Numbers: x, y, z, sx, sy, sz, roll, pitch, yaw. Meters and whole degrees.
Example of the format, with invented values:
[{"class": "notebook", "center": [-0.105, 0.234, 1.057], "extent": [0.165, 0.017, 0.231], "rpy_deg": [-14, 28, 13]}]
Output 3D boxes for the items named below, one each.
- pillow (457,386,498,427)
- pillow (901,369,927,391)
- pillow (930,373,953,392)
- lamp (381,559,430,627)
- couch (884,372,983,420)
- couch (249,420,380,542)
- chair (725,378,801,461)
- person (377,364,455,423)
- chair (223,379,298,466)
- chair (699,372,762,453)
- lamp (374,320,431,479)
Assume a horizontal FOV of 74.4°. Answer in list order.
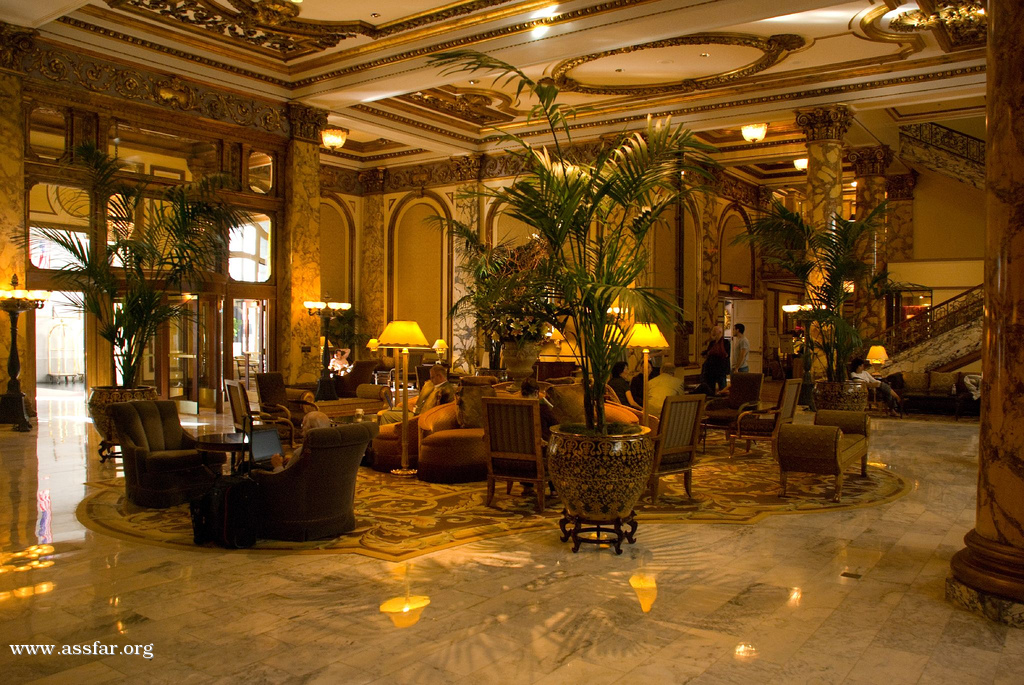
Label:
[{"class": "pillow", "center": [-0.486, 0.763, 7.990], "extent": [0.540, 0.456, 0.181], "rpy_deg": [2, 6, 7]}, {"class": "pillow", "center": [8.803, 0.839, 14.690], "extent": [0.509, 0.449, 0.209], "rpy_deg": [0, -29, 30]}, {"class": "pillow", "center": [9.050, 0.826, 14.219], "extent": [0.439, 0.380, 0.175], "rpy_deg": [-2, -21, 29]}, {"class": "lamp", "center": [-0.758, 1.785, 4.733], "extent": [0.339, 0.321, 0.306], "rpy_deg": [-5, 1, 10]}, {"class": "couch", "center": [8.870, 1.047, 14.382], "extent": [1.602, 0.774, 0.756], "rpy_deg": [1, 14, 41]}, {"class": "couch", "center": [-1.752, 1.205, 6.338], "extent": [1.209, 1.077, 0.950], "rpy_deg": [2, 2, 42]}, {"class": "chair", "center": [3.575, 1.078, 9.724], "extent": [0.963, 0.939, 0.858], "rpy_deg": [-3, -1, 12]}, {"class": "person", "center": [-1.232, 0.666, 9.044], "extent": [1.094, 0.873, 0.774], "rpy_deg": [0, -1, -15]}, {"class": "chair", "center": [-3.582, 1.165, 9.680], "extent": [1.129, 1.087, 1.087], "rpy_deg": [6, 0, 13]}, {"class": "chair", "center": [3.390, 1.031, 10.302], "extent": [0.918, 1.028, 0.764], "rpy_deg": [-8, 10, -27]}, {"class": "lamp", "center": [-1.383, 0.728, 8.748], "extent": [0.890, 1.922, 0.867], "rpy_deg": [0, -6, -2]}]
